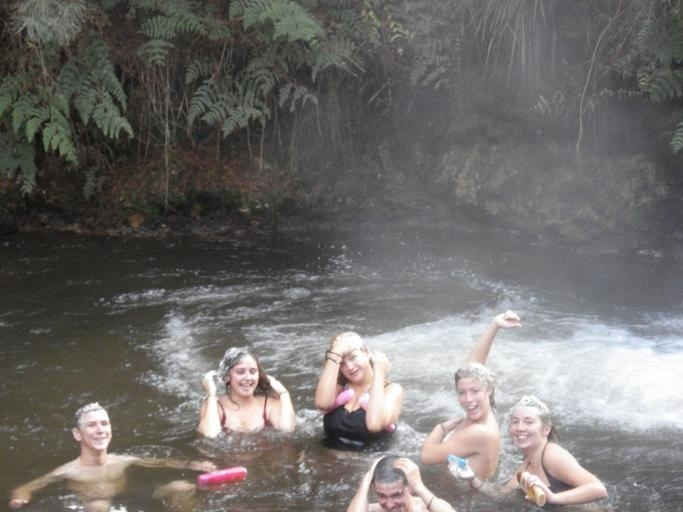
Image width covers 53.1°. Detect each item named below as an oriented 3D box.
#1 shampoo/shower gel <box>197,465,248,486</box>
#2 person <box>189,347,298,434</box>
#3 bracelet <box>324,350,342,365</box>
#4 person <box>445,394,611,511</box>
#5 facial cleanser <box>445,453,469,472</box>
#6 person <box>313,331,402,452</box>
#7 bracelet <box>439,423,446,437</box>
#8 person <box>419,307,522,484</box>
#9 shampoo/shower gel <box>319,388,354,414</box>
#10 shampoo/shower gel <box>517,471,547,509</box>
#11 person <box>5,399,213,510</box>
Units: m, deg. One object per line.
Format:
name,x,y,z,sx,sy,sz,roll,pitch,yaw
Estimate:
shampoo/shower gel,-1.054,1.966,6.177,0.469,0.150,0.149,-3,14,-25
person,-0.959,1.372,6.768,0.985,0.811,0.659,-2,11,-24
bracelet,-0.077,0.991,6.603,0.120,0.036,0.120,41,-20,-2
person,1.600,1.835,6.262,1.067,1.049,0.947,18,-41,-18
facial cleanser,1.069,1.876,6.175,0.150,0.156,0.055,12,5,19
person,0.181,1.361,6.757,0.806,1.122,0.702,6,5,26
bracelet,0.957,1.631,6.428,0.041,0.117,0.084,-5,-11,-4
person,1.219,1.641,6.435,0.843,2.244,0.731,2,-1,17
shampoo/shower gel,-0.013,1.389,6.662,0.224,0.099,0.163,-38,29,-17
shampoo/shower gel,1.625,1.987,5.845,0.113,0.117,0.384,7,10,-17
person,-2.173,1.907,6.130,1.234,0.544,0.956,-3,-2,-29
